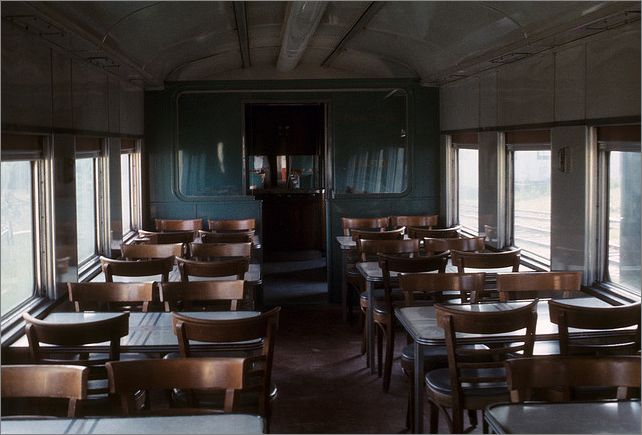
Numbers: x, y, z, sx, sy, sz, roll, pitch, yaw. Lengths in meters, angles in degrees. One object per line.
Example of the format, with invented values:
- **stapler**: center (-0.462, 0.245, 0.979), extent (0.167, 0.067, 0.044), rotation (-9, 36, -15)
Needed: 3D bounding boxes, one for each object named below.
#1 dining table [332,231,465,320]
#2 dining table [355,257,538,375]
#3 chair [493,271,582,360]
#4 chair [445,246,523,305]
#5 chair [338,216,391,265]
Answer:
- **dining table**: center (0.828, 0.829, 5.929), extent (1.047, 1.388, 1.240), rotation (0, 4, -3)
- **dining table**: center (1.086, 1.074, 5.369), extent (1.434, 1.224, 1.374), rotation (0, -1, -9)
- **chair**: center (1.828, 0.804, 4.342), extent (0.782, 0.883, 0.637), rotation (-1, 7, 3)
- **chair**: center (1.766, 0.644, 5.149), extent (0.818, 0.772, 0.718), rotation (-2, 10, 23)
- **chair**: center (0.667, 0.305, 7.890), extent (0.635, 0.769, 0.581), rotation (1, -3, -4)
